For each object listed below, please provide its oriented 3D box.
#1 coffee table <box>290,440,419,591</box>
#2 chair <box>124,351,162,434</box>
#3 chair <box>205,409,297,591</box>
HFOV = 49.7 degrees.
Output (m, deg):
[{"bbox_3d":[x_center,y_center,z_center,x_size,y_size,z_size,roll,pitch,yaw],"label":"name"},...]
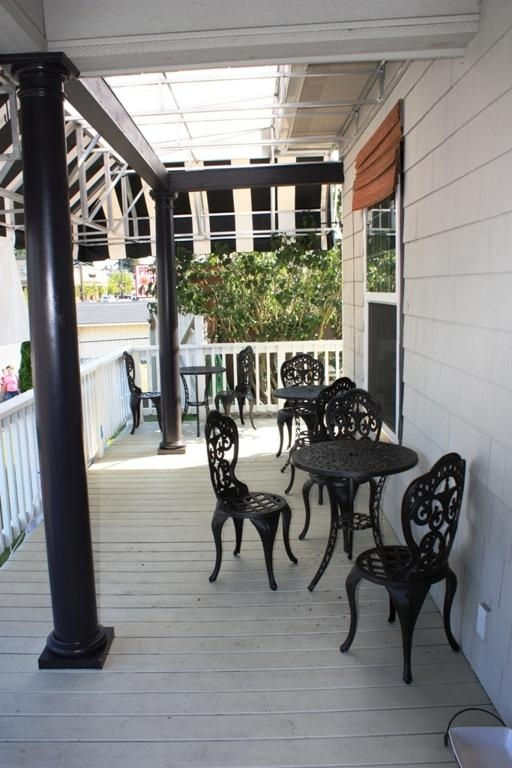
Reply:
[{"bbox_3d":[0.502,0.673,3.029,0.684,0.838,0.711,-2,19,-4],"label":"coffee table"},{"bbox_3d":[-1.473,0.089,7.106,0.423,1.004,0.883,-3,6,-13],"label":"chair"},{"bbox_3d":[-0.030,0.610,3.244,0.501,0.958,0.834,-2,6,-3],"label":"chair"}]
